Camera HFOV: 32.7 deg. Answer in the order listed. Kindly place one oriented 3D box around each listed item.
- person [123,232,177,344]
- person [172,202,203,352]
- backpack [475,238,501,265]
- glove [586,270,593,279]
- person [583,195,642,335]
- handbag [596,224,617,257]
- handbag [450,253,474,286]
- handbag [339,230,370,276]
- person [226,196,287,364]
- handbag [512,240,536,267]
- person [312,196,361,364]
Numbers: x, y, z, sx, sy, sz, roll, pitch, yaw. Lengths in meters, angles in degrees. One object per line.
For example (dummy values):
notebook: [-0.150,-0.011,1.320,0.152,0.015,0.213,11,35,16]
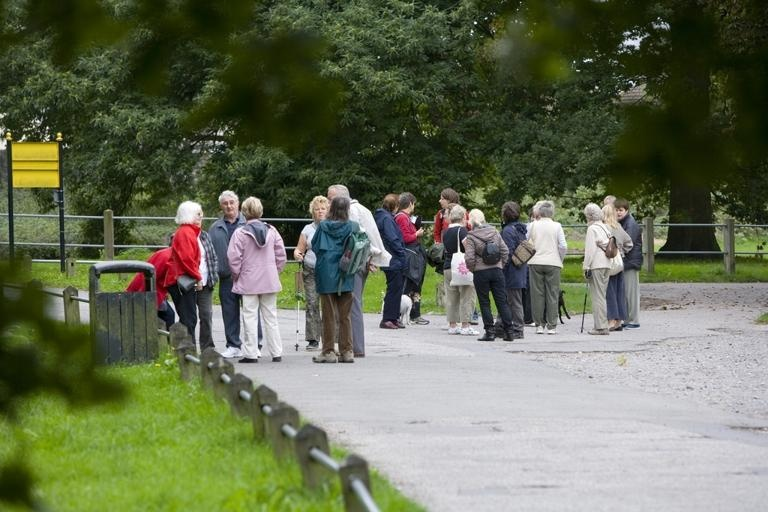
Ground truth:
person: [-1.933,0.254,10.861,0.490,0.747,0.416,17,8,29]
person: [-1.598,0.146,10.638,0.297,1.189,0.654,-1,-2,-9]
backpack: [1.004,-0.045,12.492,0.294,0.306,0.173,-3,2,-18]
glove: [2.110,0.178,13.520,0.048,0.084,0.029,-2,8,-6]
person: [2.295,0.186,13.466,0.507,1.214,1.119,-2,-2,12]
handbag: [2.278,-0.156,13.375,0.153,0.367,0.277,2,-2,21]
handbag: [0.772,0.126,12.900,0.304,0.359,0.097,-1,5,10]
handbag: [-0.252,-0.043,10.571,0.183,0.363,0.264,18,-7,13]
person: [-1.049,0.183,10.670,0.465,1.352,0.664,-1,-2,-3]
handbag: [1.399,-0.021,13.187,0.198,0.256,0.110,40,4,18]
person: [-0.400,0.192,10.697,0.375,1.346,0.441,-1,-2,-15]
